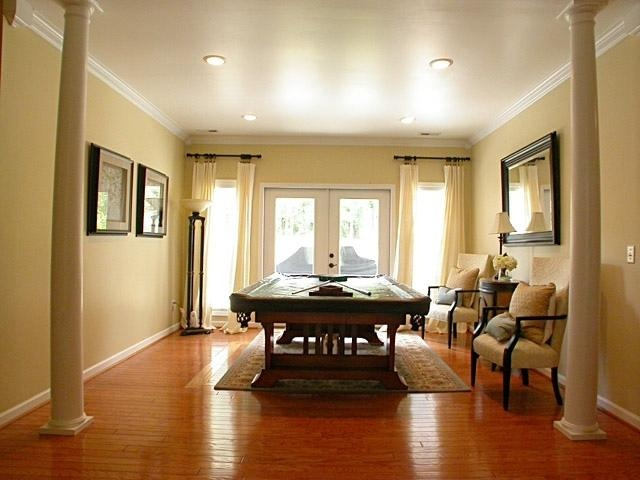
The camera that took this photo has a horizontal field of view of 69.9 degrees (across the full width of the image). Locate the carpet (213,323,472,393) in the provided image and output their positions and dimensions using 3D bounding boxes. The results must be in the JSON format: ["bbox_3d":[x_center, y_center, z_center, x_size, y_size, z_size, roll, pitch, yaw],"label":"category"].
[{"bbox_3d":[0.110,0.990,5.477,1.974,0.909,2.594,0,0,-3],"label":"carpet"}]

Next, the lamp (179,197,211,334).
[{"bbox_3d":[-1.898,0.382,7.008,0.459,1.999,0.817,-2,10,-15],"label":"lamp"}]

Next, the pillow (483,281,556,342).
[{"bbox_3d":[1.991,0.735,4.486,0.182,0.577,0.584,30,-12,-11],"label":"pillow"}]

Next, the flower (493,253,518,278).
[{"bbox_3d":[2.205,0.332,5.619,0.311,0.289,0.297,4,-8,-19],"label":"flower"}]

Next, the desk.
[{"bbox_3d":[0.095,0.875,4.486,1.252,0.616,1.709,1,-5,2],"label":"desk"}]
